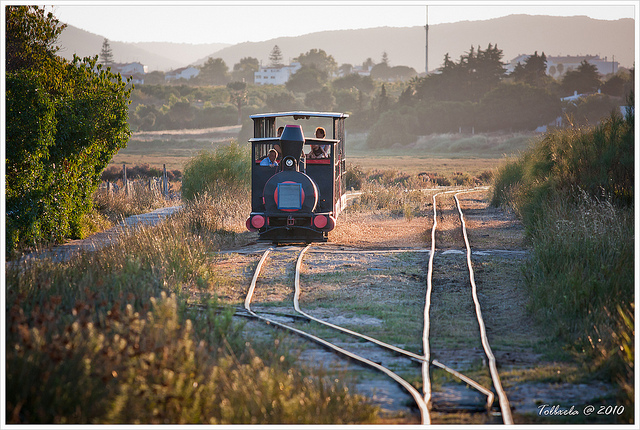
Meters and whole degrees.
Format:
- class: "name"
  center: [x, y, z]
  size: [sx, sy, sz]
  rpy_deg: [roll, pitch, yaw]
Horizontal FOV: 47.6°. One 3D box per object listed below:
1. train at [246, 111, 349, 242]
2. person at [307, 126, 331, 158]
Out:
- class: "train"
  center: [-0.760, -1.211, 23.062]
  size: [2.930, 4.146, 4.063]
  rpy_deg: [0, 7, 0]
- class: "person"
  center: [-0.072, -1.866, 22.978]
  size: [0.501, 1.899, 0.498]
  rpy_deg: [5, 2, 17]
